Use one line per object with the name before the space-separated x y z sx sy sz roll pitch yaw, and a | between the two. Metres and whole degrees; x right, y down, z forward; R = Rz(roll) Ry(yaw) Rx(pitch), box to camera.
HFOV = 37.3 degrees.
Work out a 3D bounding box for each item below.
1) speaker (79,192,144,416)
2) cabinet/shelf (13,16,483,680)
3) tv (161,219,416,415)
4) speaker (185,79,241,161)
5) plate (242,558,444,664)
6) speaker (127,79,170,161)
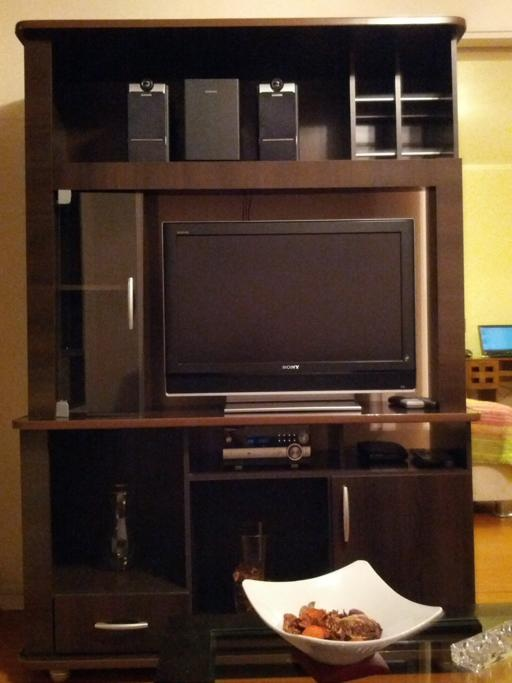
speaker | -0.468 -0.131 2.411 0.219 0.765 0.185 0 21 -8
cabinet/shelf | -0.027 -0.018 2.334 1.416 1.877 1.305 2 14 8
tv | 0.107 -0.091 2.490 0.825 0.635 0.090 -1 11 2
speaker | -0.130 -0.707 2.490 0.219 0.346 0.230 0 0 1
plate | 0.209 0.593 1.655 0.306 0.133 0.348 1 1 -18
speaker | -0.345 -0.706 2.424 0.128 0.242 0.111 -3 14 -11
